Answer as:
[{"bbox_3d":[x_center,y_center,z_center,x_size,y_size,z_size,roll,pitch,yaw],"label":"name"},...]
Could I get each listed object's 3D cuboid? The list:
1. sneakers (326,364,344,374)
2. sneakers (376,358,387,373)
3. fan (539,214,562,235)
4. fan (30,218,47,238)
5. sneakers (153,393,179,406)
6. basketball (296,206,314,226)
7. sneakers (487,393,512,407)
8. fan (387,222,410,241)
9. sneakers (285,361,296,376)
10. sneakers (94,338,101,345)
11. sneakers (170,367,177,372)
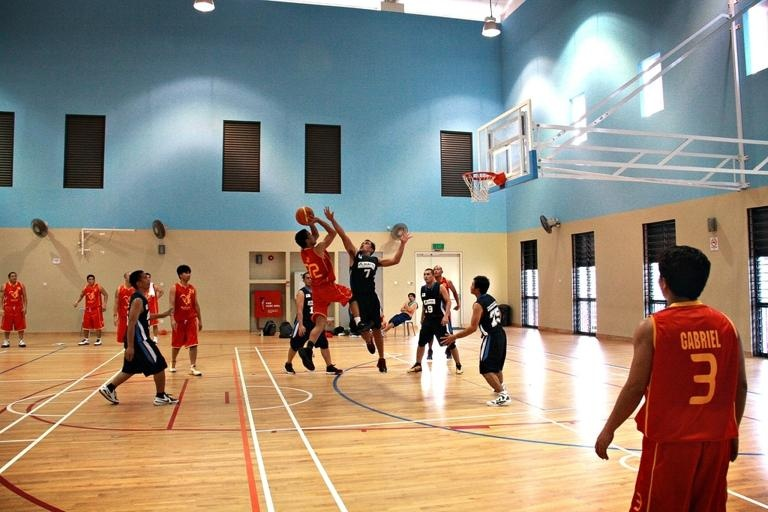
[{"bbox_3d":[-0.890,2.037,9.381,0.307,0.201,0.137,0,-1,-9],"label":"sneakers"},{"bbox_3d":[-0.049,2.023,9.588,0.170,0.233,0.557,0,-17,-4],"label":"sneakers"},{"bbox_3d":[4.840,-0.919,15.280,0.322,0.514,0.642,-1,2,-23],"label":"fan"},{"bbox_3d":[-9.869,-0.780,14.858,0.374,0.530,0.525,-2,2,-35],"label":"fan"},{"bbox_3d":[-3.060,2.046,7.402,0.394,0.183,0.144,1,-2,-13],"label":"sneakers"},{"bbox_3d":[-1.170,-0.580,7.749,0.323,0.373,0.325,-1,2,-3],"label":"basketball"},{"bbox_3d":[1.557,1.998,7.234,0.408,0.257,0.141,0,-5,7],"label":"sneakers"},{"bbox_3d":[0.494,-0.830,16.402,0.749,0.762,0.180,-1,21,-17],"label":"fan"},{"bbox_3d":[-1.710,2.001,9.352,0.120,0.146,0.333,2,-4,-26],"label":"sneakers"},{"bbox_3d":[-7.498,2.249,13.617,0.126,0.170,0.278,-3,-8,16],"label":"sneakers"},{"bbox_3d":[-3.920,2.094,9.607,0.056,0.059,0.152,1,0,-14],"label":"sneakers"}]
